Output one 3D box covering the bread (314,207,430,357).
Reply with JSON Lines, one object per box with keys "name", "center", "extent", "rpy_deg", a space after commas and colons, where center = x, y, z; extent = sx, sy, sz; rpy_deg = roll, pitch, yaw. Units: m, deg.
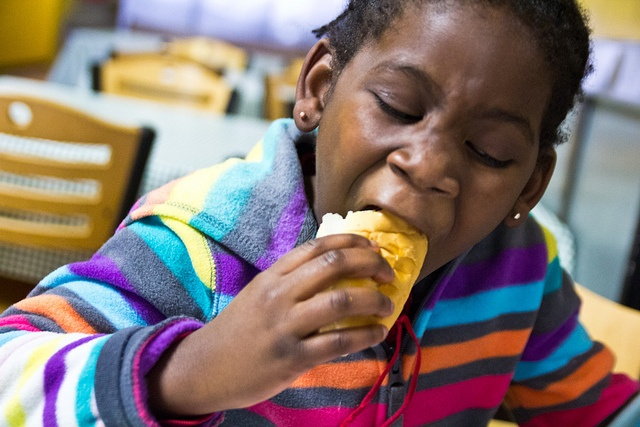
{"name": "bread", "center": [0.115, 0.170, 1.469], "extent": [0.208, 0.123, 0.377], "rpy_deg": [38, 62, -22]}
